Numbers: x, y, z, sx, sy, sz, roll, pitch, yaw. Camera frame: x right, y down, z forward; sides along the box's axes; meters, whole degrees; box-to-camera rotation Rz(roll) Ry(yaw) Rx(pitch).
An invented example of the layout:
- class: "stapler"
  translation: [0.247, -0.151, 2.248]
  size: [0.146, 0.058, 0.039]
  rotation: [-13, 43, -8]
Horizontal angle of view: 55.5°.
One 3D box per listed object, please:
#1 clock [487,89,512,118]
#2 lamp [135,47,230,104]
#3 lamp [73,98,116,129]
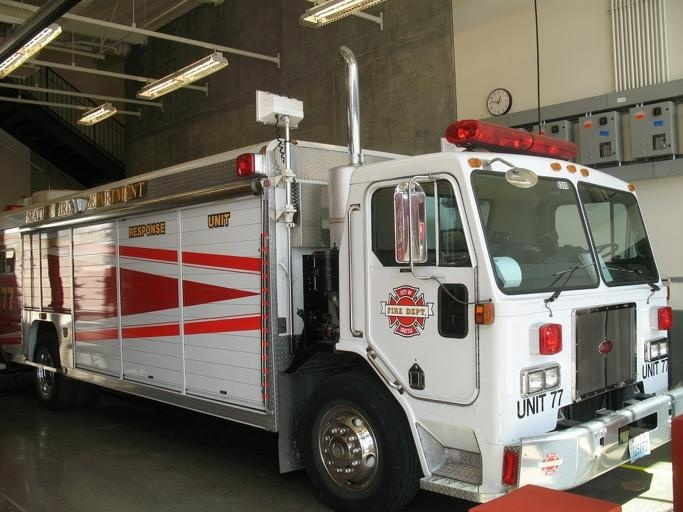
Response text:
- class: "clock"
  translation: [2.640, -2.544, 10.816]
  size: [0.118, 0.474, 0.431]
  rotation: [7, -13, -33]
- class: "lamp"
  translation: [-3.908, -4.518, 16.291]
  size: [0.474, 0.311, 2.647]
  rotation: [-28, 12, -35]
- class: "lamp"
  translation: [-7.200, -4.160, 18.947]
  size: [0.570, 0.391, 1.758]
  rotation: [-11, 2, -42]
